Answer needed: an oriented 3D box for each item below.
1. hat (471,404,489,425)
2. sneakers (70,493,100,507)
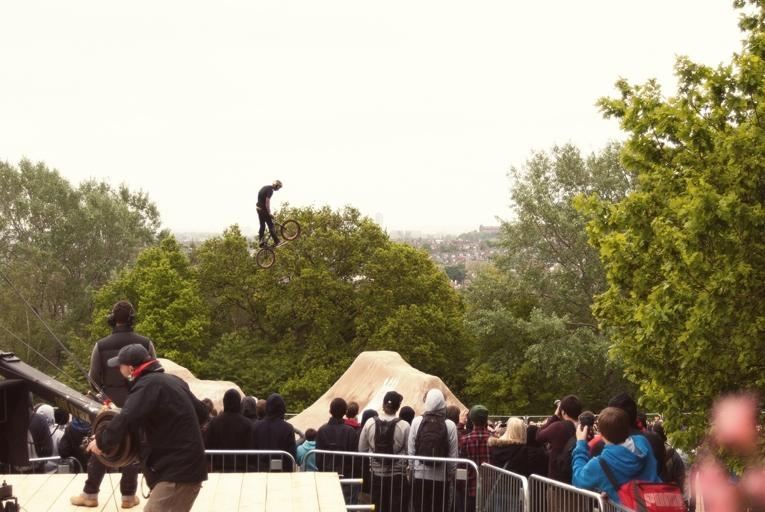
[{"bbox_3d":[2.288,3.696,23.531,0.332,0.489,0.458,1,4,3],"label":"hat"},{"bbox_3d":[-6.556,5.331,21.986,0.519,0.251,0.273,11,1,9],"label":"sneakers"}]
